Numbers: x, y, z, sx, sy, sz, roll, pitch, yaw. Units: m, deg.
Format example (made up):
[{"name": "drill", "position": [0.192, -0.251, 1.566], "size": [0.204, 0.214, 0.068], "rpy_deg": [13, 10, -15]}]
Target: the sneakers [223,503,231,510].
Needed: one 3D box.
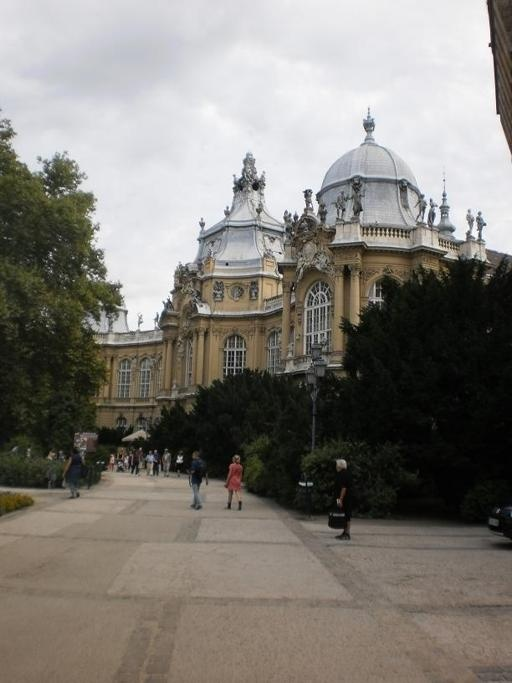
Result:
[{"name": "sneakers", "position": [-0.791, 4.301, 16.674], "size": [0.224, 0.233, 0.113], "rpy_deg": [6, -12, -1]}]

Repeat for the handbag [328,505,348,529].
[{"name": "handbag", "position": [1.523, 3.256, 11.809], "size": [0.364, 0.363, 0.314], "rpy_deg": [-1, -9, 20]}]
